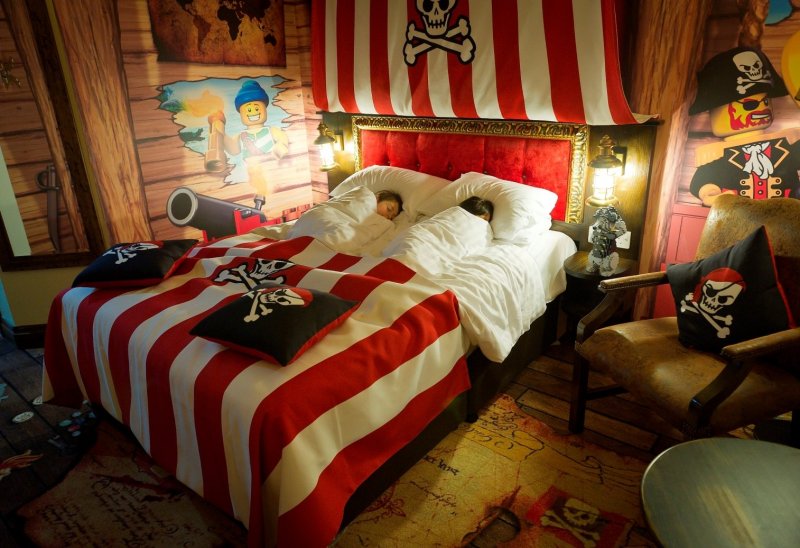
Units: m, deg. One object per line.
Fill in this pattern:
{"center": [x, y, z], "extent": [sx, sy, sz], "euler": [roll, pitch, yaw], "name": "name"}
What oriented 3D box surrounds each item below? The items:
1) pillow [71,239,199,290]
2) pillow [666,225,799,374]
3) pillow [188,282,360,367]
{"center": [-1.630, -0.056, 3.013], "extent": [0.394, 0.120, 0.400], "euler": [1, 26, 3], "name": "pillow"}
{"center": [1.687, 0.151, 2.562], "extent": [0.216, 0.660, 0.699], "euler": [7, -17, -35], "name": "pillow"}
{"center": [-0.574, 0.205, 2.479], "extent": [0.489, 0.160, 0.453], "euler": [14, 28, 30], "name": "pillow"}
